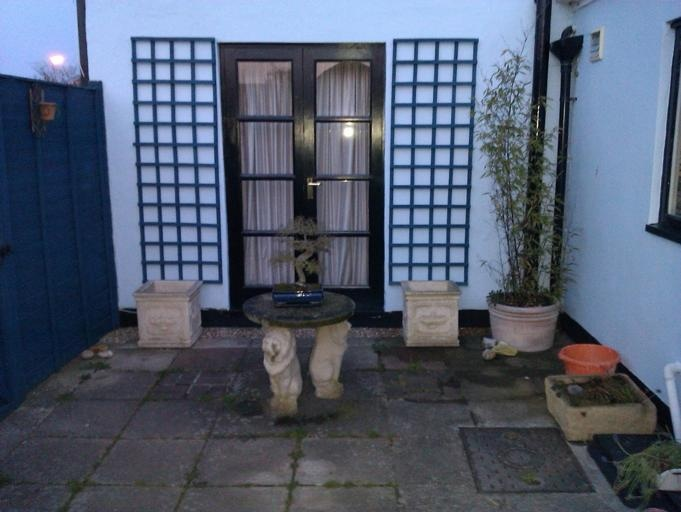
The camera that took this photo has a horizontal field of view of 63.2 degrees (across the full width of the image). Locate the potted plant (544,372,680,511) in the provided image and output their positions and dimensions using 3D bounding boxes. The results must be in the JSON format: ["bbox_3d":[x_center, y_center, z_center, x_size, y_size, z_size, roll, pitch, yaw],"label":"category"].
[{"bbox_3d":[2.058,1.448,4.432,0.663,0.412,0.914,-1,12,-6],"label":"potted plant"}]

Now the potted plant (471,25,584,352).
[{"bbox_3d":[1.973,-0.700,5.793,1.027,3.288,0.934,0,13,12],"label":"potted plant"}]

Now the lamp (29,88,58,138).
[{"bbox_3d":[-2.710,-1.347,5.106,0.194,0.459,0.358,-4,12,-5],"label":"lamp"}]
